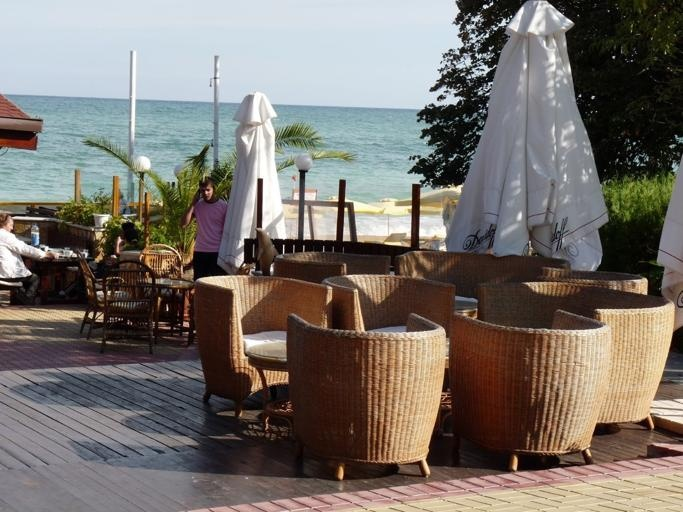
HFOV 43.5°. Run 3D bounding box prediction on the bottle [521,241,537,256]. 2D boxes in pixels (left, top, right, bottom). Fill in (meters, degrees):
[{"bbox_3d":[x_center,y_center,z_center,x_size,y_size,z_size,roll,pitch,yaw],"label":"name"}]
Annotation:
[{"bbox_3d":[2.061,-0.088,9.358,0.141,0.154,0.181,1,-11,2],"label":"bottle"}]
